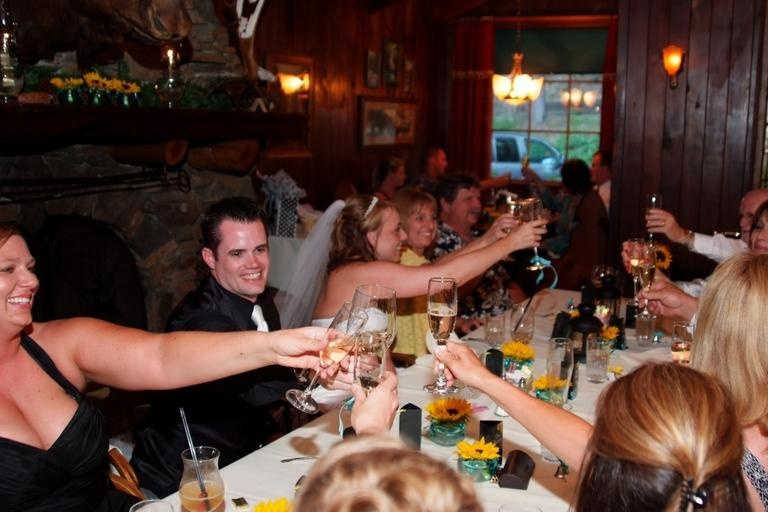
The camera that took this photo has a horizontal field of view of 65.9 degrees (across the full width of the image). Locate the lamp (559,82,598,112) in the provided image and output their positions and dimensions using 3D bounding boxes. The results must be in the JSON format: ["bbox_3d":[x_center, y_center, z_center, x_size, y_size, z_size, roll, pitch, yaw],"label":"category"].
[{"bbox_3d":[3.480,-2.805,10.542,0.487,0.323,0.478,3,8,0],"label":"lamp"}]

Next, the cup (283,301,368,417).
[{"bbox_3d":[-0.264,0.352,2.064,0.137,0.418,0.166,15,16,43],"label":"cup"}]

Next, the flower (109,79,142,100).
[{"bbox_3d":[-1.842,-1.186,4.182,0.156,0.121,0.246,0,10,-5],"label":"flower"}]

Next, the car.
[{"bbox_3d":[2.625,-1.848,11.023,1.640,0.942,1.095,-4,17,1],"label":"car"}]

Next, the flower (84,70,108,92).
[{"bbox_3d":[-1.965,-1.177,4.016,0.149,0.071,0.147,-7,21,-31],"label":"flower"}]

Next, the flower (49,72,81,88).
[{"bbox_3d":[-2.105,-1.130,3.890,0.130,0.058,0.143,-1,1,-7],"label":"flower"}]

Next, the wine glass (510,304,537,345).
[{"bbox_3d":[0.720,0.365,3.057,0.146,0.213,0.154,3,-12,18],"label":"wine glass"}]

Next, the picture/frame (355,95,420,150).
[{"bbox_3d":[0.063,-1.941,8.713,0.074,0.747,1.658,-7,15,-28],"label":"picture/frame"}]

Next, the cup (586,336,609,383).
[{"bbox_3d":[1.052,0.507,2.921,0.127,0.210,0.129,-3,-1,0],"label":"cup"}]

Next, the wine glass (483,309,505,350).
[{"bbox_3d":[0.583,0.384,3.118,0.121,0.181,0.123,11,21,38],"label":"wine glass"}]

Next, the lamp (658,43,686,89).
[{"bbox_3d":[2.614,-1.698,5.373,0.191,0.330,0.192,-2,7,-40],"label":"lamp"}]
